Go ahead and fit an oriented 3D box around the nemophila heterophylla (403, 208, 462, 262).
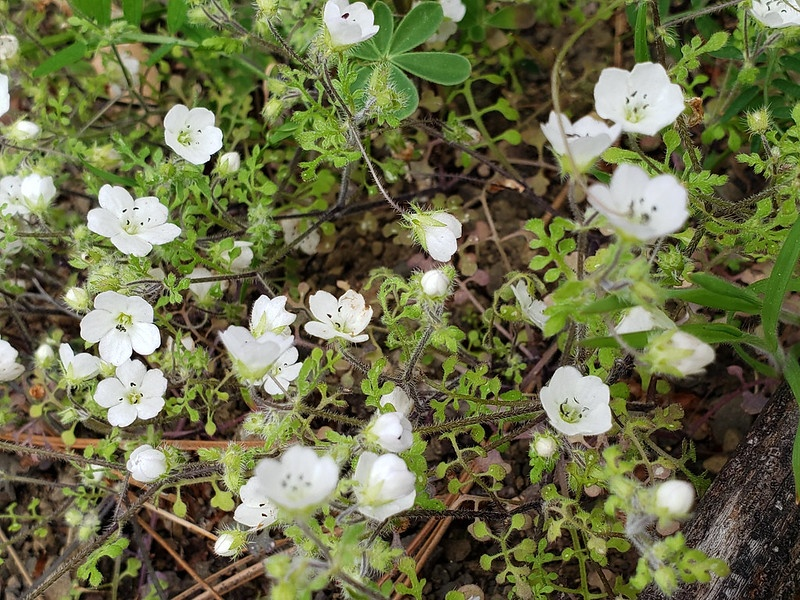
[{"bbox_3d":[0.133,-0.270,2.901,0.214,0.108,0.198,24,94,51],"label":"nemophila heterophylla"}]
